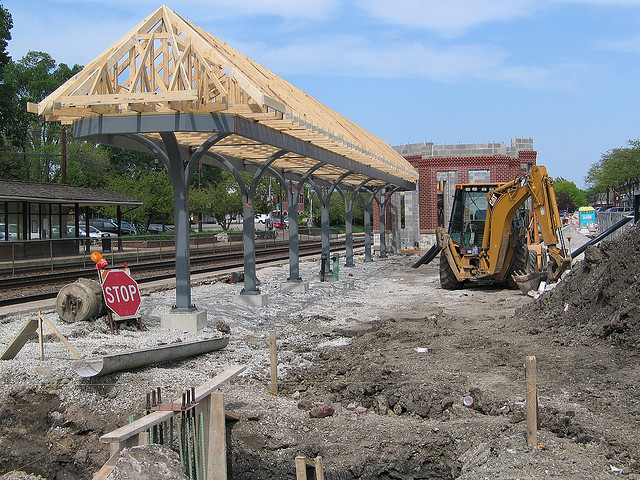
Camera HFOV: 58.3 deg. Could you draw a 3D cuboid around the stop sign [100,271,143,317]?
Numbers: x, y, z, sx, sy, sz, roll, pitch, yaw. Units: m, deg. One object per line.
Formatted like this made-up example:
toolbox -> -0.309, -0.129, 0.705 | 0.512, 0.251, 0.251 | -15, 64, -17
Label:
stop sign -> -4.105, 1.101, 11.792 | 0.105, 1.051, 1.019 | -23, -11, 24
